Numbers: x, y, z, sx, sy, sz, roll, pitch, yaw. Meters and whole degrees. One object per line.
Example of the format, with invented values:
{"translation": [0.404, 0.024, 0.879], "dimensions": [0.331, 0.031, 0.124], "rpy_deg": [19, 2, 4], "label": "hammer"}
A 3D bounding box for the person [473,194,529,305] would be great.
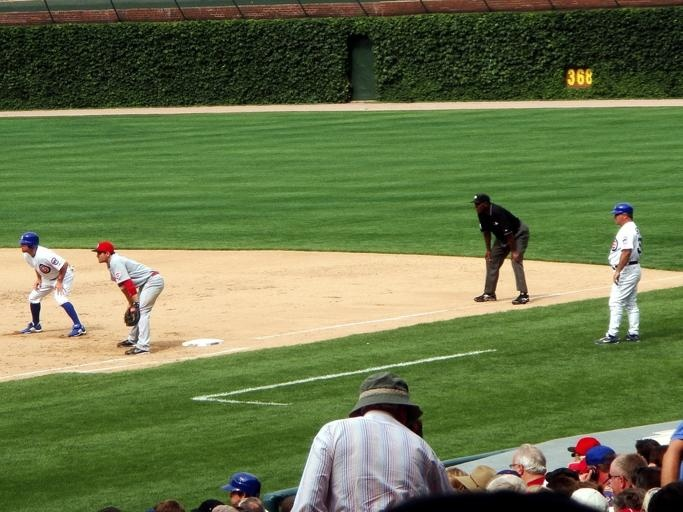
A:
{"translation": [4.053, -0.182, 38.534], "dimensions": [1.360, 2.761, 0.831], "rpy_deg": [2, 17, 30], "label": "person"}

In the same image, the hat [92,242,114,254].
{"translation": [-5.909, -0.174, 38.432], "dimensions": [0.659, 0.263, 0.362], "rpy_deg": [5, 17, 0], "label": "hat"}

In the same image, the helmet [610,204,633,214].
{"translation": [6.504, -1.050, 35.572], "dimensions": [0.436, 0.146, 0.266], "rpy_deg": [1, 10, 13], "label": "helmet"}

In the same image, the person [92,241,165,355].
{"translation": [-4.932, 0.976, 36.911], "dimensions": [1.401, 2.640, 1.055], "rpy_deg": [-8, 14, -7], "label": "person"}

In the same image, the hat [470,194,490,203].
{"translation": [3.487, -1.375, 38.282], "dimensions": [0.417, 0.176, 0.242], "rpy_deg": [4, 16, 7], "label": "hat"}

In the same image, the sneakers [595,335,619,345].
{"translation": [6.230, 1.942, 35.683], "dimensions": [0.613, 0.194, 0.195], "rpy_deg": [0, 14, 8], "label": "sneakers"}

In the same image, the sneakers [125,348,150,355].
{"translation": [-4.810, 2.279, 36.813], "dimensions": [0.583, 0.155, 0.184], "rpy_deg": [2, 3, 4], "label": "sneakers"}

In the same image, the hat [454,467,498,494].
{"translation": [2.625, 4.274, 29.715], "dimensions": [0.991, 0.325, 0.762], "rpy_deg": [-6, 11, -14], "label": "hat"}

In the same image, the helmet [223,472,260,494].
{"translation": [-1.938, 4.499, 30.599], "dimensions": [0.654, 0.454, 0.481], "rpy_deg": [3, 15, 31], "label": "helmet"}

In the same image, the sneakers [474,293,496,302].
{"translation": [3.669, 1.071, 38.935], "dimensions": [0.588, 0.172, 0.174], "rpy_deg": [0, 15, 1], "label": "sneakers"}
